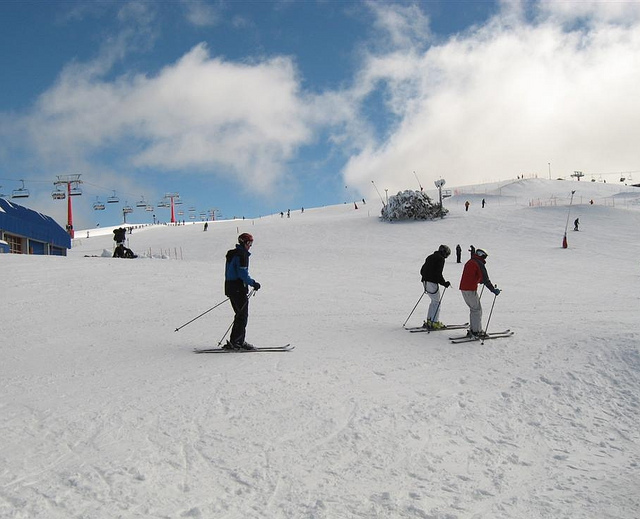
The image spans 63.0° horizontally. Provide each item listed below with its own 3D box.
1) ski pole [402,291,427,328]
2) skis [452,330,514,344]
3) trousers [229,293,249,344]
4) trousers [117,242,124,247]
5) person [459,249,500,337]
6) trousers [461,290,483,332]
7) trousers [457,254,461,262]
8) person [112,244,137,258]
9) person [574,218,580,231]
[{"bbox_3d":[2.671,1.418,14.790,0.047,0.096,1.293,-17,25,49],"label":"ski pole"},{"bbox_3d":[3.239,1.544,10.591,1.057,0.179,0.081,-7,0,-12],"label":"skis"},{"bbox_3d":[-1.497,1.069,9.695,0.367,0.962,0.290,-6,14,-29],"label":"trousers"},{"bbox_3d":[-10.127,-0.778,26.496,0.278,0.256,0.721,-4,14,-23],"label":"trousers"},{"bbox_3d":[3.255,0.669,10.834,0.679,1.819,1.077,5,13,17],"label":"person"},{"bbox_3d":[3.154,1.031,10.702,0.317,0.813,0.488,-7,15,-33],"label":"trousers"},{"bbox_3d":[7.129,-0.092,26.862,0.101,0.462,0.573,7,13,24],"label":"trousers"},{"bbox_3d":[-9.860,-0.436,26.304,1.078,0.647,0.977,13,17,42],"label":"person"},{"bbox_3d":[17.614,-2.386,35.762,0.295,0.797,1.109,7,14,26],"label":"person"}]
